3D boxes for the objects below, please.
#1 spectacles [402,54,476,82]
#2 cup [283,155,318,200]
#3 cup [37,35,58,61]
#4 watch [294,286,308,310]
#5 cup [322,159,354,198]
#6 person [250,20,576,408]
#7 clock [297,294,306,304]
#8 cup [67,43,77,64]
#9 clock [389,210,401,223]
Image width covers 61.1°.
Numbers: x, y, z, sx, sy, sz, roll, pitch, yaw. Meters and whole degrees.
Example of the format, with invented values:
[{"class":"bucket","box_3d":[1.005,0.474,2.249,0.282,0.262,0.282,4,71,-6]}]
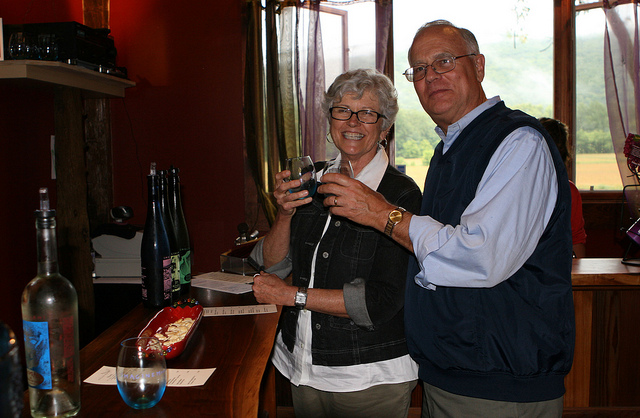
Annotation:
[{"class":"spectacles","box_3d":[0.555,-0.668,2.548,0.329,0.102,0.100,-3,3,20]},{"class":"cup","box_3d":[-0.085,-0.169,2.613,0.170,0.222,0.172,-9,24,4]},{"class":"cup","box_3d":[-1.762,-1.056,3.530,0.152,0.156,0.147,2,16,-1]},{"class":"watch","box_3d":[-0.081,0.399,2.465,0.054,0.085,0.089,9,-9,7]},{"class":"cup","box_3d":[0.092,-0.160,2.775,0.182,0.238,0.203,1,-4,-1]},{"class":"person","box_3d":[0.408,0.020,2.479,1.335,1.792,0.504,-3,3,22]},{"class":"clock","box_3d":[-0.082,0.408,2.462,0.038,0.035,0.037,2,0,9]},{"class":"cup","box_3d":[-1.656,-1.049,3.627,0.067,0.111,0.035,-5,3,-23]},{"class":"clock","box_3d":[0.322,0.032,2.310,0.032,0.043,0.047,10,17,43]}]
